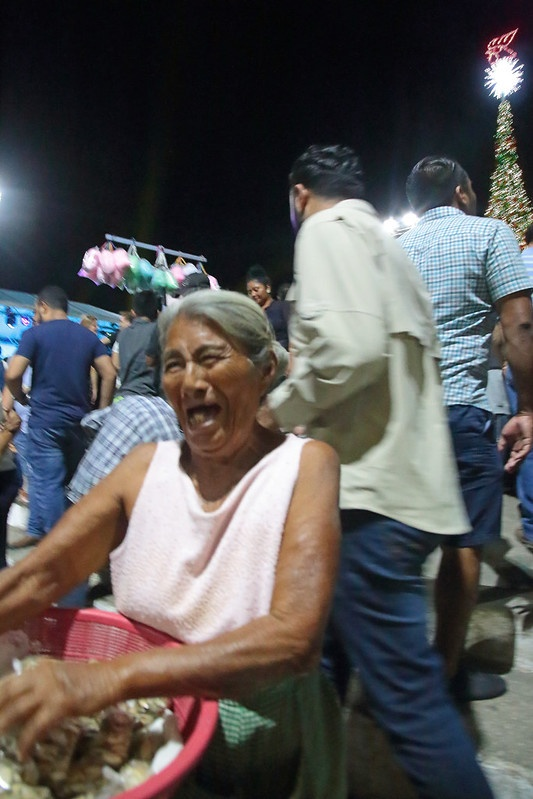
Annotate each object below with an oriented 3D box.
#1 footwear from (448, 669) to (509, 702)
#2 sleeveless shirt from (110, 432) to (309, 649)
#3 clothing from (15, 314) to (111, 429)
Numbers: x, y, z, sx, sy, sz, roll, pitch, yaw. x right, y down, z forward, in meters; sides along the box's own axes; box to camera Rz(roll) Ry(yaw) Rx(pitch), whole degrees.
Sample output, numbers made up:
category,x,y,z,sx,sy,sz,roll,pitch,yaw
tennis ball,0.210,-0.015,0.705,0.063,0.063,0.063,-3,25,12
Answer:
category,x,y,z,sx,sy,sz,roll,pitch,yaw
footwear,0.831,1.118,2.368,0.122,0.048,0.199,-2,-9,16
sleeveless shirt,-0.132,0.294,1.367,0.471,0.426,0.275,1,-3,36
clothing,-1.511,-0.178,4.302,0.320,0.770,0.730,10,9,39
